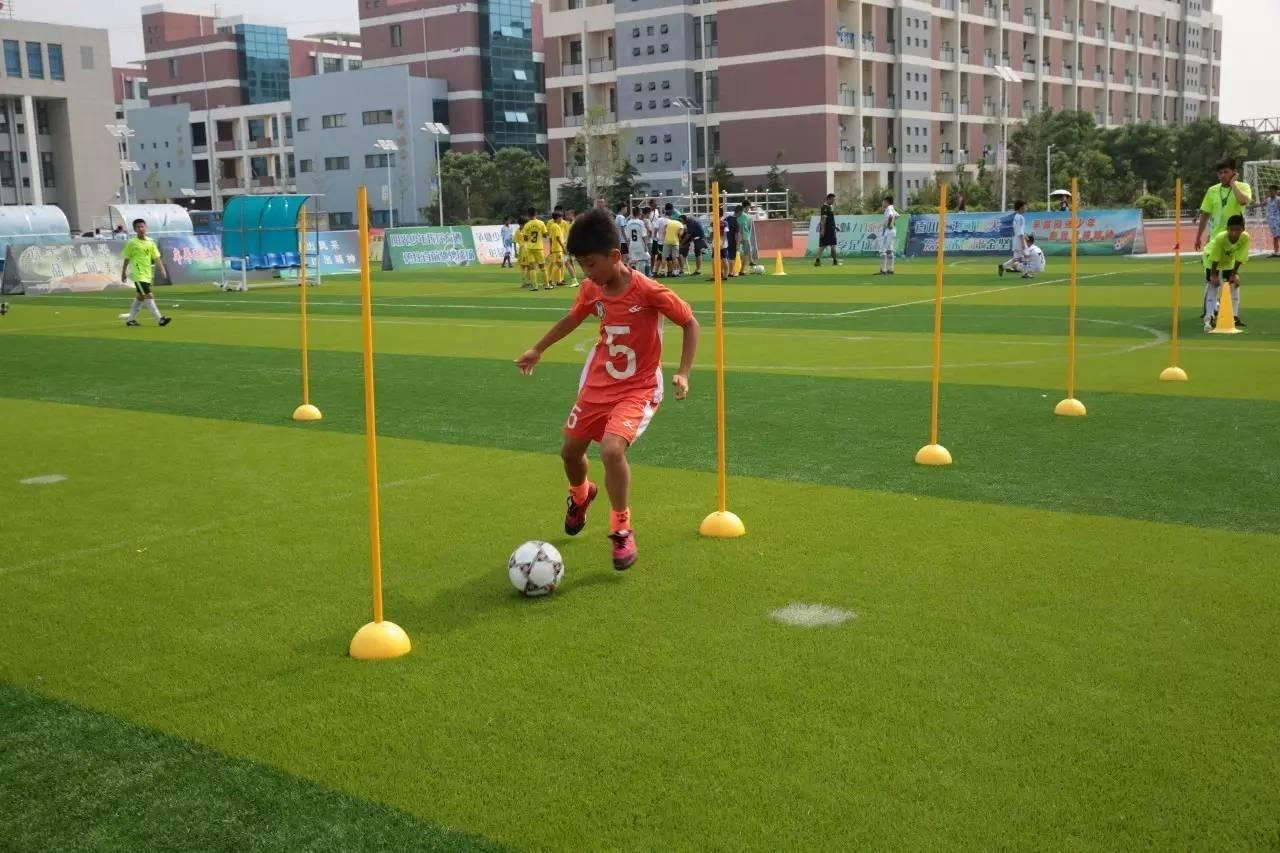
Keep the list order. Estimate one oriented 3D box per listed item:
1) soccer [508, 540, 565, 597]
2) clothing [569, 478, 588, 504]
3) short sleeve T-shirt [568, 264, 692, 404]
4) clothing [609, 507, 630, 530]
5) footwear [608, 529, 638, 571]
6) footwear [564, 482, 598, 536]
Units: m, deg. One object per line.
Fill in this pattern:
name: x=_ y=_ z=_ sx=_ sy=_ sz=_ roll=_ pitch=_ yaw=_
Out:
soccer: x=-0.603 y=0.830 z=6.368 sx=0.306 sy=0.315 sz=0.306 roll=-2 pitch=-5 yaw=10
clothing: x=-0.393 y=0.422 z=7.144 sx=0.129 sy=0.158 sz=0.126 roll=-2 pitch=13 yaw=-5
short sleeve T-shirt: x=-0.051 y=-0.580 z=6.832 sx=0.744 sy=0.809 sz=0.313 roll=-2 pitch=13 yaw=-4
clothing: x=-0.118 y=0.577 z=6.824 sx=0.098 sy=0.157 sz=0.158 roll=-1 pitch=-1 yaw=-4
footwear: x=-0.095 y=0.759 z=6.748 sx=0.152 sy=0.236 sz=0.169 roll=-1 pitch=13 yaw=1
footwear: x=-0.433 y=0.546 z=7.273 sx=0.155 sy=0.455 sz=0.205 roll=16 pitch=15 yaw=24
